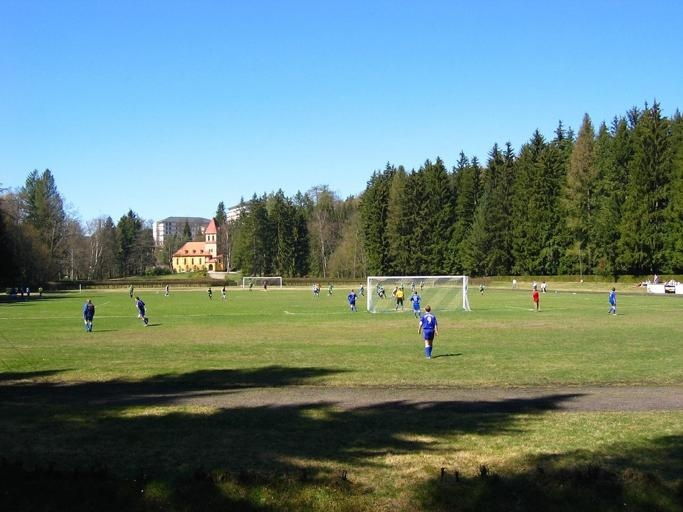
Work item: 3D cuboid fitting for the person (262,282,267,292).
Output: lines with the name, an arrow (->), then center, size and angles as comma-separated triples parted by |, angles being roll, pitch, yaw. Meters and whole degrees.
person -> -11.048, 4.331, 113.731 | 0.404, 1.753, 0.736 | -9, -7, 31

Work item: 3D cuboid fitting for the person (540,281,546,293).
person -> 22.189, 3.361, 87.672 | 0.714, 0.928, 1.776 | -2, 4, 11

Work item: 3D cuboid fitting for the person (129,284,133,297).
person -> -21.542, 3.648, 81.500 | 0.275, 1.234, 1.680 | -2, 5, -16

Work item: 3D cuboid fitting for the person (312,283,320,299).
person -> -2.772, 3.752, 85.686 | 1.067, 1.878, 0.696 | 6, 19, 13
